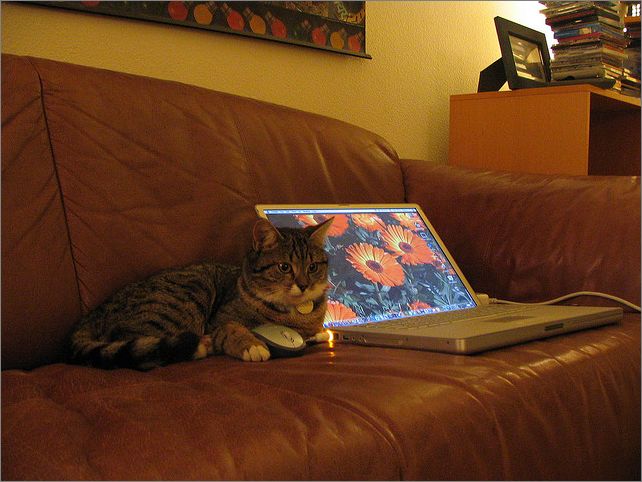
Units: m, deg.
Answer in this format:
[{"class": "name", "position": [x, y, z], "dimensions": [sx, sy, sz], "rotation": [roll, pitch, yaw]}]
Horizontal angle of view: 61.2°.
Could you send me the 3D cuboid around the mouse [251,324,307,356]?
[{"class": "mouse", "position": [-0.087, 0.204, 1.103], "dimensions": [0.062, 0.045, 0.124], "rotation": [-9, 16, -35]}]
